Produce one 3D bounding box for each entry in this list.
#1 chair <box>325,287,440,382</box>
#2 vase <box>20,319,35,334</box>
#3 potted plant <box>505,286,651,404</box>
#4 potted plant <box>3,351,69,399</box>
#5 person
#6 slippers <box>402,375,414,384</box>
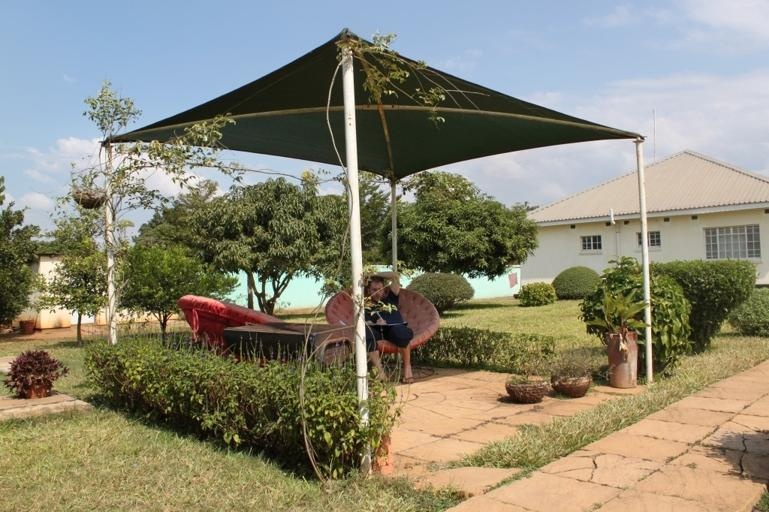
[{"bbox_3d":[-0.035,1.579,12.596,2.240,1.890,2.264,5,1,16],"label":"chair"},{"bbox_3d":[-12.171,2.468,23.086,0.484,0.413,0.490,0,-4,7],"label":"vase"},{"bbox_3d":[3.670,1.457,11.436,1.871,1.736,0.774,0,-1,-26],"label":"potted plant"},{"bbox_3d":[-5.729,1.915,11.111,0.790,0.821,0.848,4,2,38],"label":"potted plant"},{"bbox_3d":[-0.004,1.247,12.158,0.809,2.124,1.187,-9,-12,4],"label":"person"},{"bbox_3d":[0.403,2.227,12.167,0.235,0.124,0.409,-1,-1,0],"label":"slippers"}]
